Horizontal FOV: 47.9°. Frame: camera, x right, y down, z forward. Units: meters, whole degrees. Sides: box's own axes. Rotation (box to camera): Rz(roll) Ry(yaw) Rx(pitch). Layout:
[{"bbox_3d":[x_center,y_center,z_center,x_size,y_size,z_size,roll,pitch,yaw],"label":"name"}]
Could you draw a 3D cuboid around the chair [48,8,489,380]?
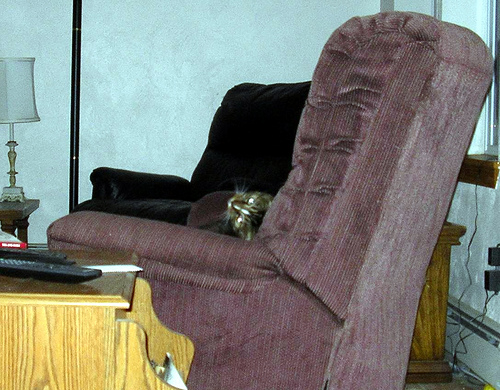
[{"bbox_3d":[0.140,0.001,1.680,1.056,1.035,0.699,2,4,24],"label":"chair"}]
